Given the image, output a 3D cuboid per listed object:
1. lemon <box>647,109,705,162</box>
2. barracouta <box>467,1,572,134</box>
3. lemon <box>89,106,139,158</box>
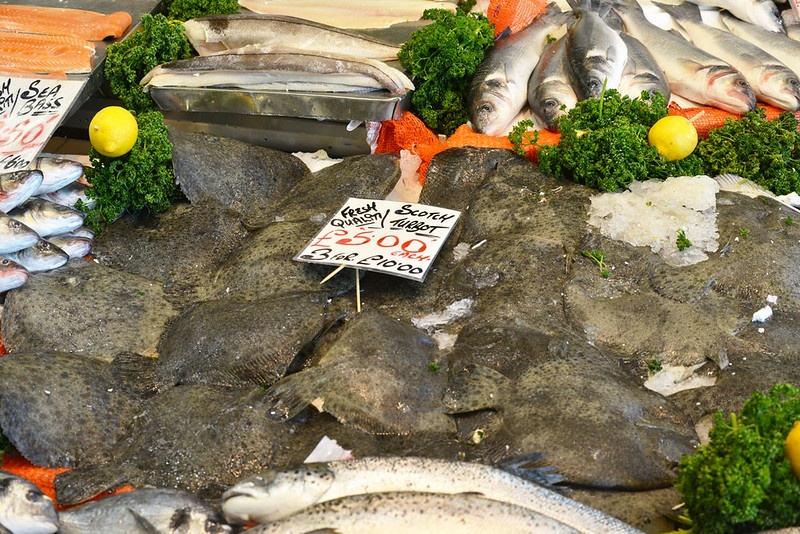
[{"bbox_3d":[2.187,-1.068,5.611,0.441,0.354,0.379,-27,43,-17],"label":"lemon"},{"bbox_3d":[1.099,-1.838,6.371,0.607,0.596,1.632,11,59,46],"label":"barracouta"},{"bbox_3d":[-2.416,-1.096,5.677,0.342,0.351,0.423,-22,63,14],"label":"lemon"}]
